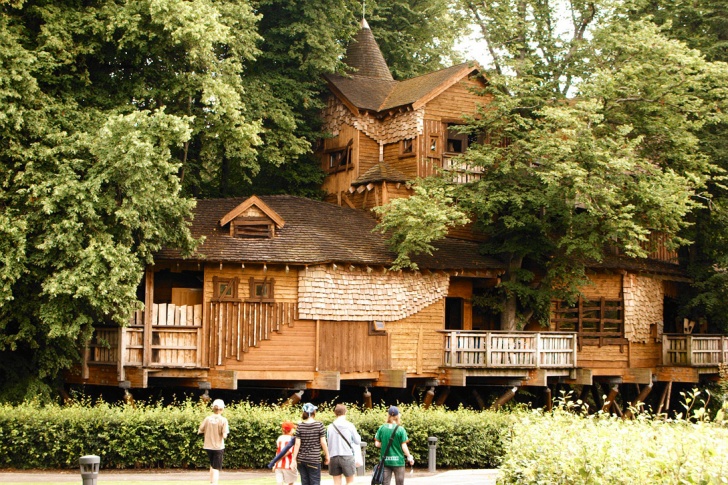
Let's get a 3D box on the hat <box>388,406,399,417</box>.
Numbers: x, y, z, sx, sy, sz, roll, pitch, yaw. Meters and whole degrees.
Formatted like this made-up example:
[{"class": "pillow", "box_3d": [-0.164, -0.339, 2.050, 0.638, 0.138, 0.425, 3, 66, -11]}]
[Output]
[{"class": "hat", "box_3d": [0.930, 5.288, 37.857, 0.247, 0.186, 0.326, 1, 11, 0]}]
